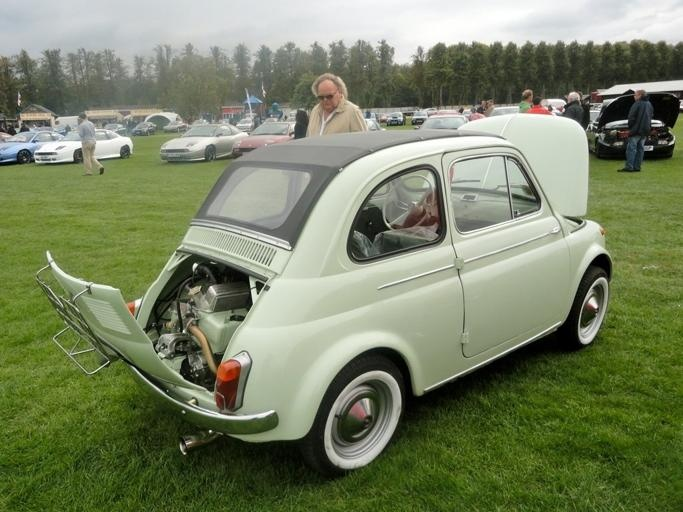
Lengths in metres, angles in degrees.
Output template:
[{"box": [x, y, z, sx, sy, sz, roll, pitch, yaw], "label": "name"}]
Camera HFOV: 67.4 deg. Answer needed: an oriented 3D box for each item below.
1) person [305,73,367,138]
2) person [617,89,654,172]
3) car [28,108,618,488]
[{"box": [-0.122, -1.871, 6.522, 0.784, 0.960, 0.492, 11, 32, 14], "label": "person"}, {"box": [7.694, -3.296, 13.384, 0.605, 2.065, 0.924, 8, 19, 38], "label": "person"}, {"box": [0.135, 0.541, 4.402, 4.397, 2.377, 2.418, -24, 28, -32], "label": "car"}]
